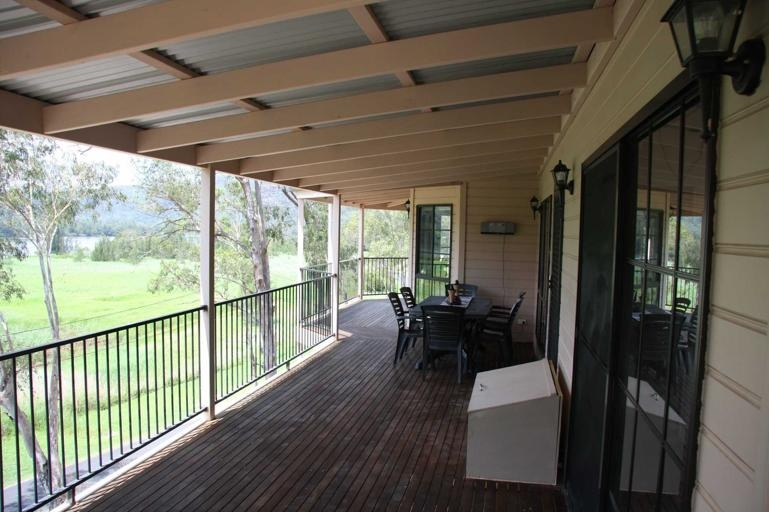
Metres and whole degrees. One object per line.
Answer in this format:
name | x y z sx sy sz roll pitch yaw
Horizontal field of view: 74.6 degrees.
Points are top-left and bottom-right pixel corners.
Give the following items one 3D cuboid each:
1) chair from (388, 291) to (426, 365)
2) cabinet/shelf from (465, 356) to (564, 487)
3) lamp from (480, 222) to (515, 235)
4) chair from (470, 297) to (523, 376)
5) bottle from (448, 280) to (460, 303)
chair | 0.491 1.079 7.576 0.749 1.049 0.749 0 5 30
cabinet/shelf | 1.227 1.547 4.827 0.778 0.871 1.177 1 -3 13
lamp | 2.049 -0.487 8.963 0.634 0.264 0.211 2 8 11
chair | 1.702 1.121 7.672 0.764 1.170 0.859 3 11 11
bottle | 1.065 0.582 7.626 0.263 0.318 0.265 1 -1 9
